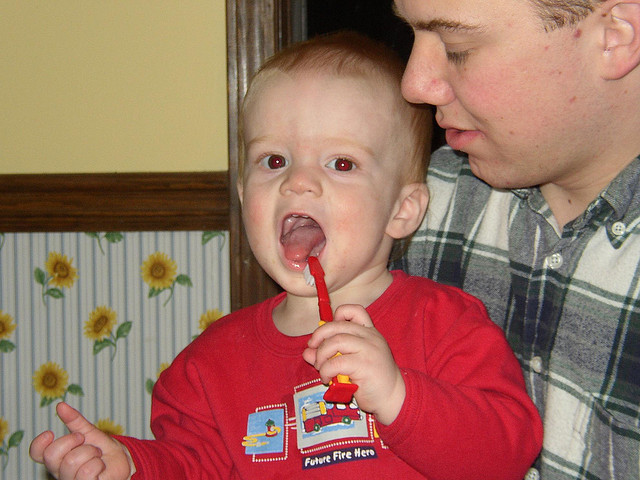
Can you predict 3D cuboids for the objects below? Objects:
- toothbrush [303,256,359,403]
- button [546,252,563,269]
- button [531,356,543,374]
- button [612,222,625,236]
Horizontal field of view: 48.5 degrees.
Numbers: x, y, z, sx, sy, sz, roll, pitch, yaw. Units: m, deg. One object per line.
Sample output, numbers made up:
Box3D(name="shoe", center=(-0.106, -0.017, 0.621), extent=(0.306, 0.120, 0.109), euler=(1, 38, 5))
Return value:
Box3D(name="toothbrush", center=(0.016, 0.155, 1.378), extent=(0.064, 0.272, 0.076), euler=(-7, -1, -33))
Box3D(name="button", center=(0.515, 0.044, 1.558), extent=(0.031, 0.033, 0.008), euler=(6, -2, 38))
Box3D(name="button", center=(0.472, 0.269, 1.542), extent=(0.024, 0.032, 0.027), euler=(-4, -13, 13))
Box3D(name="button", center=(0.624, -0.025, 1.483), extent=(0.023, 0.025, 0.006), euler=(-2, 2, 41))
